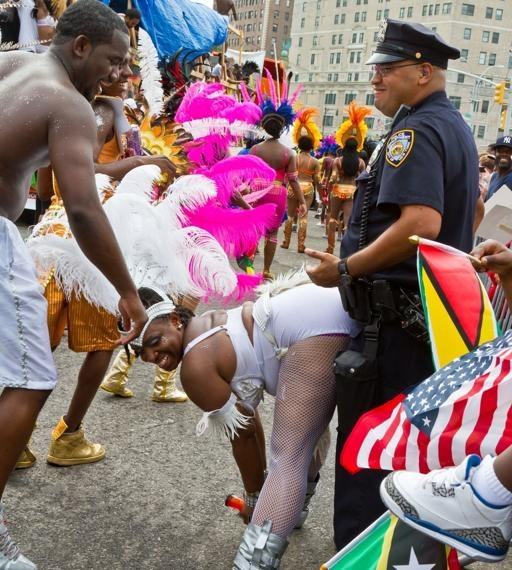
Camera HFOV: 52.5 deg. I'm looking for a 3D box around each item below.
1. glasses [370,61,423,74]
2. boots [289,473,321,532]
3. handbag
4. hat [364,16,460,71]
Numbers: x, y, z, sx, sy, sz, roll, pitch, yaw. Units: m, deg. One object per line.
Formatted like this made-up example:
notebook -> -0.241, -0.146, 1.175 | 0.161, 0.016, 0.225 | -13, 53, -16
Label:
glasses -> 0.491, -0.750, 1.788 | 0.098, 0.020, 0.080 | 0, 9, -8
boots -> 0.218, 0.916, 2.186 | 0.097, 0.211, 0.165 | 31, -25, -4
handbag -> 0.335, 0.381, 1.793 | 0.178, 0.296, 0.137 | -1, 15, -41
hat -> 0.532, -0.805, 1.817 | 0.287, 0.103, 0.208 | 7, 19, -4
